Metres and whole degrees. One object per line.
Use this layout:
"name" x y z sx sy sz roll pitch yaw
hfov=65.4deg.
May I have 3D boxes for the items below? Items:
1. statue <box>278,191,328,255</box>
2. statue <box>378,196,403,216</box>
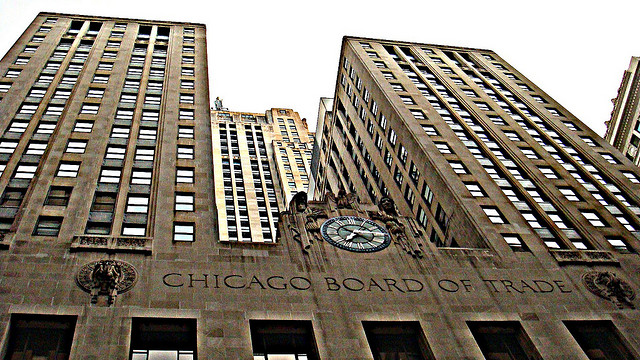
"statue" -2.091 4.677 57.505 4.620 7.152 3.272 0 1 1
"statue" 8.664 3.426 61.300 2.454 3.193 1.325 22 -56 -32
